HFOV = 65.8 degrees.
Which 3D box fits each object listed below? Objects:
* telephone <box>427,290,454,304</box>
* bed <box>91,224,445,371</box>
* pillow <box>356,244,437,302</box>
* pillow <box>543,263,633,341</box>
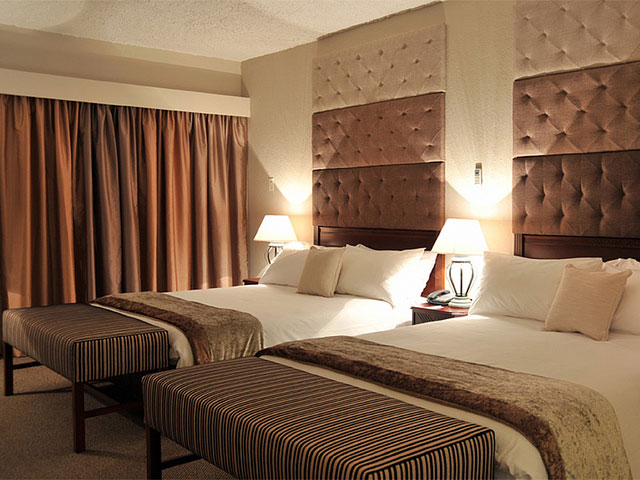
[{"bbox_3d":[1.003,0.467,4.059,0.146,0.037,0.140,-4,5,-45],"label":"telephone"},{"bbox_3d":[-0.184,0.459,3.915,1.657,0.556,1.625,2,-2,-40],"label":"bed"},{"bbox_3d":[0.590,0.273,4.169,0.577,0.486,0.170,8,-20,29],"label":"pillow"},{"bbox_3d":[1.586,0.353,2.936,0.138,0.409,0.453,32,-15,-33],"label":"pillow"}]
